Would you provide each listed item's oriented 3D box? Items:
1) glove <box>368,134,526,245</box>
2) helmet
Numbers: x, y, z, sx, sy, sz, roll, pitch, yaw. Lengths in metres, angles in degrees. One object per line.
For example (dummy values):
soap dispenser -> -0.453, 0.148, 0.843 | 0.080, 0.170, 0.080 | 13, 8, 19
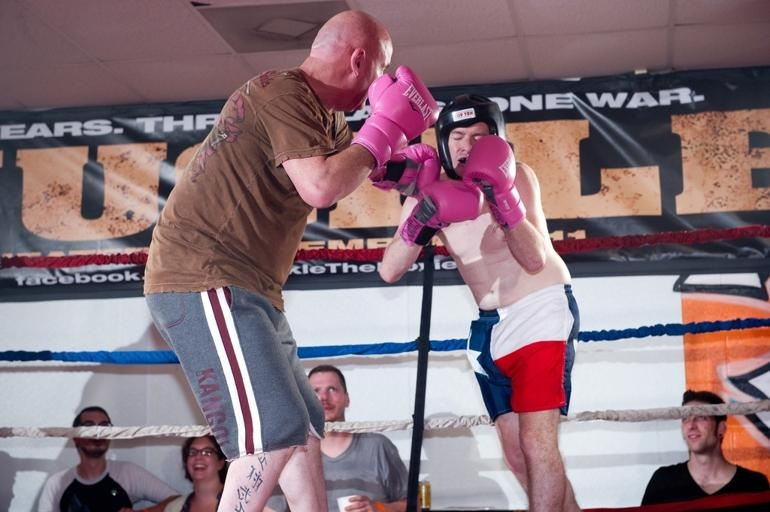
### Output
glove -> 0.456, -0.380, 6.477 | 0.615, 0.728, 0.346 | 18, 1, -19
helmet -> 0.500, -0.806, 6.720 | 0.428, 0.496, 0.486 | 7, -40, 5
